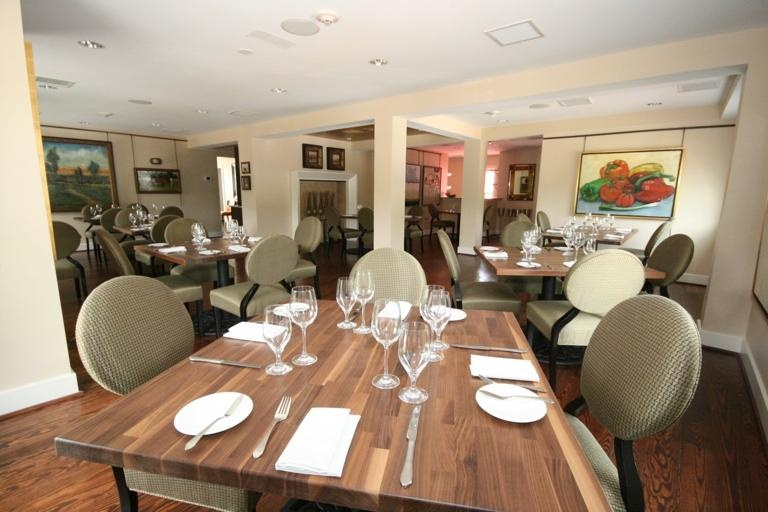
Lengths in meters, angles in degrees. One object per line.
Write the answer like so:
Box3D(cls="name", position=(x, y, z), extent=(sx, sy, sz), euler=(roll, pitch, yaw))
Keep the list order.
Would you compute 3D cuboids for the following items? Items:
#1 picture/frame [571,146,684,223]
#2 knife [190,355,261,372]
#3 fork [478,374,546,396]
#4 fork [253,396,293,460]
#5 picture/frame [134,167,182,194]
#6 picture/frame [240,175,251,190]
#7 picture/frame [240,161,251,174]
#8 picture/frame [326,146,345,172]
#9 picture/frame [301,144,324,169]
Box3D(cls="picture/frame", position=(3.734, -1.084, 7.077), extent=(1.329, 1.012, 0.098), euler=(11, 20, 38))
Box3D(cls="knife", position=(-0.850, 0.574, 2.504), extent=(0.320, 0.015, 0.044), euler=(5, 25, 4))
Box3D(cls="fork", position=(0.648, 0.657, 2.389), extent=(0.410, 0.046, 0.048), euler=(4, 25, 17))
Box3D(cls="fork", position=(-0.514, 0.800, 2.274), extent=(0.074, 0.050, 0.351), euler=(8, 39, 15))
Box3D(cls="picture/frame", position=(-4.650, -1.536, 9.575), extent=(0.051, 0.381, 0.665), euler=(5, 7, 28))
Box3D(cls="picture/frame", position=(-2.543, -1.356, 8.680), extent=(0.270, 0.262, 0.019), euler=(13, 23, 34))
Box3D(cls="picture/frame", position=(-2.525, -1.611, 8.601), extent=(0.021, 0.183, 0.264), euler=(-15, 20, -42))
Box3D(cls="picture/frame", position=(-1.047, -2.073, 10.043), extent=(0.058, 0.485, 0.595), euler=(5, 9, 38))
Box3D(cls="picture/frame", position=(-1.480, -2.027, 9.586), extent=(0.043, 0.377, 0.561), euler=(4, 7, 29))
